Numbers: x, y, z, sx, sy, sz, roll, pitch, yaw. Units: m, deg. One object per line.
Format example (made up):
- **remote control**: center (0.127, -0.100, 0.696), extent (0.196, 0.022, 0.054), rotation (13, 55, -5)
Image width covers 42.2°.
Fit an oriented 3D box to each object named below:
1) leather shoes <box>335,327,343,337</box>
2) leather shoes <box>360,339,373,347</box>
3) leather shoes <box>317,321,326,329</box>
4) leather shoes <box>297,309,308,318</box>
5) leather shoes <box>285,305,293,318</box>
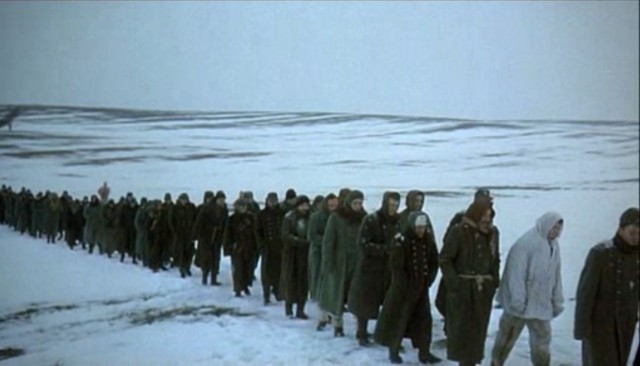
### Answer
- **leather shoes**: center (0.319, 2.491, 13.823), extent (0.182, 0.145, 0.111), rotation (-2, 7, -32)
- **leather shoes**: center (0.752, 2.629, 13.586), extent (0.199, 0.105, 0.040), rotation (1, -1, 7)
- **leather shoes**: center (0.033, 2.415, 13.976), extent (0.171, 0.130, 0.086), rotation (2, -1, -6)
- **leather shoes**: center (-0.303, 2.263, 14.277), extent (0.216, 0.189, 0.105), rotation (1, 1, 8)
- **leather shoes**: center (-0.521, 2.192, 14.238), extent (0.125, 0.211, 0.096), rotation (2, -1, -6)
